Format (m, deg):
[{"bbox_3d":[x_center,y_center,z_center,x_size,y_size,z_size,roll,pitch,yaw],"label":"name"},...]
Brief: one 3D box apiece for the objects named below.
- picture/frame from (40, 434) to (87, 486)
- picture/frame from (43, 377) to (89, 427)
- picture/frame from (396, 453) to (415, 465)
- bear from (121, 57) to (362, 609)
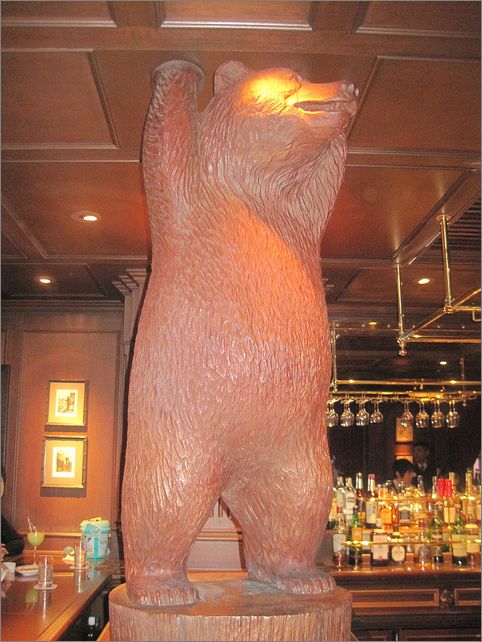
[{"bbox_3d":[-1.230,0.974,4.280,0.348,0.368,0.042,0,-10,-4],"label":"picture/frame"},{"bbox_3d":[-1.235,0.585,4.368,0.347,0.374,0.029,0,-11,0],"label":"picture/frame"},{"bbox_3d":[1.487,1.246,5.613,0.113,0.075,0.012,-2,-1,-4],"label":"picture/frame"},{"bbox_3d":[0.001,-0.029,1.038,0.397,0.923,0.246,-1,-13,-8],"label":"bear"}]
